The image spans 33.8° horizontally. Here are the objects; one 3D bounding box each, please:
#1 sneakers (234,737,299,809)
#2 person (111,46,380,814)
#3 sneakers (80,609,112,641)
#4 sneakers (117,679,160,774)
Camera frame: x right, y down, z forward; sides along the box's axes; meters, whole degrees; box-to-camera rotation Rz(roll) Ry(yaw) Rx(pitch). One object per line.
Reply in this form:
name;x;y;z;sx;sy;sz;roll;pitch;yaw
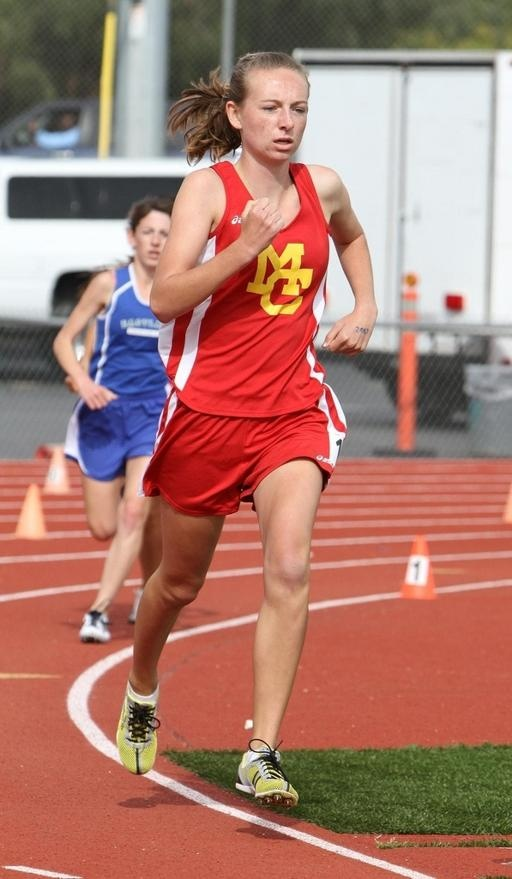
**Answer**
sneakers;-0.009;0.716;1.805;0.079;0.118;0.232;12;-10;-17
person;0.015;-0.019;2.012;0.588;1.954;0.816;4;-5;-8
sneakers;-0.829;0.971;4.337;0.166;0.175;0.150;4;-5;-20
sneakers;-0.336;0.803;2.321;0.104;0.276;0.127;1;-12;-14
